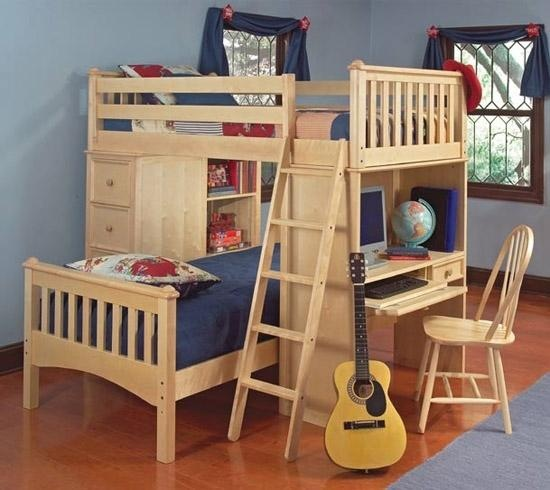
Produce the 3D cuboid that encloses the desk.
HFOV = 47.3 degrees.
[{"bbox_3d":[0.691,0.393,3.124,0.433,0.715,0.770,0,5,29],"label":"desk"}]

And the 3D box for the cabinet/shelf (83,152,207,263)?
[{"bbox_3d":[-0.724,-0.233,3.920,0.456,0.830,0.436,-14,33,-31],"label":"cabinet/shelf"}]

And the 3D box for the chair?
[{"bbox_3d":[0.934,0.391,3.053,0.598,0.970,0.620,-6,9,-38],"label":"chair"}]

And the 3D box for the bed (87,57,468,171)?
[{"bbox_3d":[-0.119,-0.658,3.333,1.731,0.533,0.924,4,8,30],"label":"bed"}]

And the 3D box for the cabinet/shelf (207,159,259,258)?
[{"bbox_3d":[-0.305,-0.252,4.050,0.381,0.703,0.236,-6,9,-20],"label":"cabinet/shelf"}]

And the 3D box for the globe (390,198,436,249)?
[{"bbox_3d":[0.748,-0.111,3.379,0.242,0.277,0.224,-6,17,-16],"label":"globe"}]

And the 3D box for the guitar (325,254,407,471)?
[{"bbox_3d":[0.368,0.473,2.608,0.328,0.826,0.350,0,10,3],"label":"guitar"}]

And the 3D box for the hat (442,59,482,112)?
[{"bbox_3d":[1.019,-0.849,3.339,0.063,0.244,0.240,-10,-6,-15],"label":"hat"}]

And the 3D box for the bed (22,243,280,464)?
[{"bbox_3d":[-0.519,0.245,3.487,0.852,0.801,1.582,11,21,19],"label":"bed"}]
